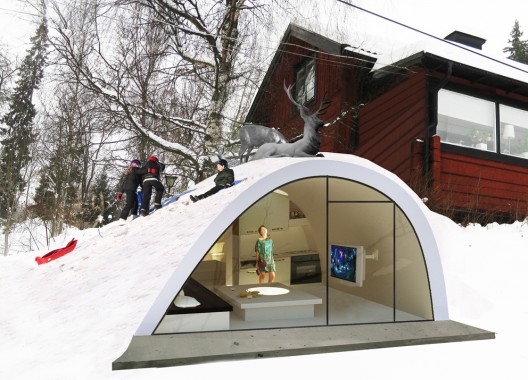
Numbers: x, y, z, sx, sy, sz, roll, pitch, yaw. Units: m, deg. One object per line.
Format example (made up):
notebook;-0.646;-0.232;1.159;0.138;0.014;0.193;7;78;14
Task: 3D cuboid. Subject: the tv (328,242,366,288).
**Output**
tv;2.354;2.061;13.638;0.713;1.556;1.392;1;1;-34

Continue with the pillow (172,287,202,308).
pillow;-1.861;2.600;11.729;0.497;0.216;0.610;5;-2;-8

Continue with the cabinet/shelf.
cabinet/shelf;0.078;0.700;15.563;1.598;1.325;0.831;2;5;-21

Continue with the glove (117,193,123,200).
glove;-4.424;0.187;14.971;0.121;0.127;0.303;-24;4;-26

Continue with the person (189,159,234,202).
person;-1.365;-0.332;12.851;1.376;0.829;0.783;-28;13;-13

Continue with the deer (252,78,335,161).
deer;0.839;-1.650;13.634;1.939;2.574;1.785;0;7;-24

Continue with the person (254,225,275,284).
person;0.036;1.909;14.421;0.532;1.639;0.531;1;-5;-1
